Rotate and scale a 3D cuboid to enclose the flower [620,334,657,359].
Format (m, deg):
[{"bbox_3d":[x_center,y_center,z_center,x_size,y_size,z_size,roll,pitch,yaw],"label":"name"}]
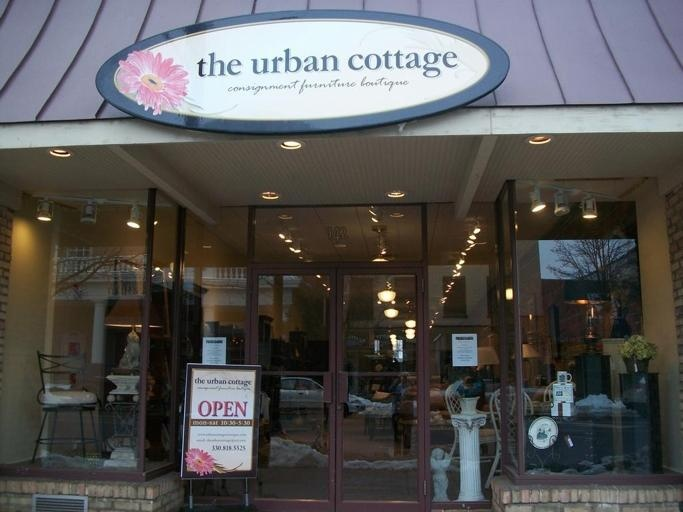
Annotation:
[{"bbox_3d":[2.977,0.914,6.650,0.274,0.203,0.207,1,-5,-32],"label":"flower"}]

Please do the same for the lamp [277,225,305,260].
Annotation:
[{"bbox_3d":[-0.577,-0.150,7.654,0.335,0.233,0.425,-6,-27,23],"label":"lamp"}]

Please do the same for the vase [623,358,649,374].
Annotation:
[{"bbox_3d":[2.954,1.101,6.631,0.167,0.082,0.169,-1,-13,8],"label":"vase"}]

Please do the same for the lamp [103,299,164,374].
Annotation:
[{"bbox_3d":[-2.238,0.858,6.986,0.536,0.780,0.178,-3,-12,16],"label":"lamp"}]

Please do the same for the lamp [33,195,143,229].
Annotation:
[{"bbox_3d":[-2.758,-0.536,7.291,1.118,0.294,0.191,4,16,-10],"label":"lamp"}]

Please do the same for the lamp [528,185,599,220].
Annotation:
[{"bbox_3d":[2.295,-0.569,6.877,0.890,0.436,0.277,1,-3,3],"label":"lamp"}]
